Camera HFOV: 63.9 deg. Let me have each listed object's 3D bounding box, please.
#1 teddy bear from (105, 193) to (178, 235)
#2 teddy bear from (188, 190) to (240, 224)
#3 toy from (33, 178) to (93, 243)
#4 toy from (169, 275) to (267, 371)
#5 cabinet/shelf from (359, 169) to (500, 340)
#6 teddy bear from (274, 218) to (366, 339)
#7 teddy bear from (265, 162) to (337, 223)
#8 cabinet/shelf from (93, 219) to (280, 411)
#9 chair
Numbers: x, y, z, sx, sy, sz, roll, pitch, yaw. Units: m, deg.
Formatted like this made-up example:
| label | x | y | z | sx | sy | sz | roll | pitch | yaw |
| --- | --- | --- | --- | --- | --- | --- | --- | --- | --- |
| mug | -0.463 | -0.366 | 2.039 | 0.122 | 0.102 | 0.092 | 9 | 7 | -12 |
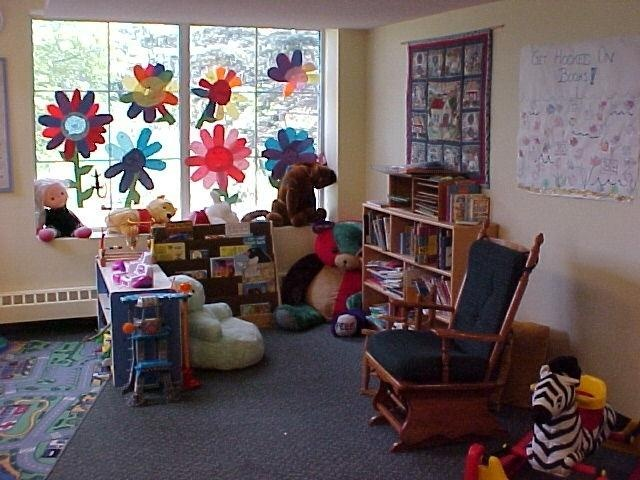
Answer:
| label | x | y | z | sx | sy | sz | roll | pitch | yaw |
| --- | --- | --- | --- | --- | --- | --- | --- | --- | --- |
| teddy bear | -1.846 | -0.246 | 5.324 | 0.688 | 0.396 | 0.409 | -4 | 2 | -11 |
| teddy bear | -1.122 | -0.351 | 5.494 | 0.431 | 0.337 | 0.356 | -8 | 11 | -29 |
| toy | -2.586 | -0.315 | 5.141 | 0.580 | 0.613 | 0.511 | 1 | 14 | 6 |
| toy | -0.944 | 0.714 | 4.649 | 0.850 | 0.723 | 0.750 | 4 | 6 | 2 |
| cabinet/shelf | 0.948 | 0.111 | 4.316 | 0.456 | 1.486 | 1.524 | 0 | 6 | -20 |
| teddy bear | 0.136 | 0.393 | 5.489 | 0.995 | 1.206 | 0.947 | 12 | 9 | 18 |
| teddy bear | -0.203 | -0.525 | 5.971 | 0.807 | 0.811 | 0.583 | 4 | 1 | 14 |
| cabinet/shelf | -1.177 | 0.560 | 4.725 | 1.471 | 1.506 | 0.923 | 0 | -9 | -29 |
| chair | 0.878 | 0.668 | 3.709 | 1.057 | 1.416 | 0.979 | -1 | 6 | -16 |
